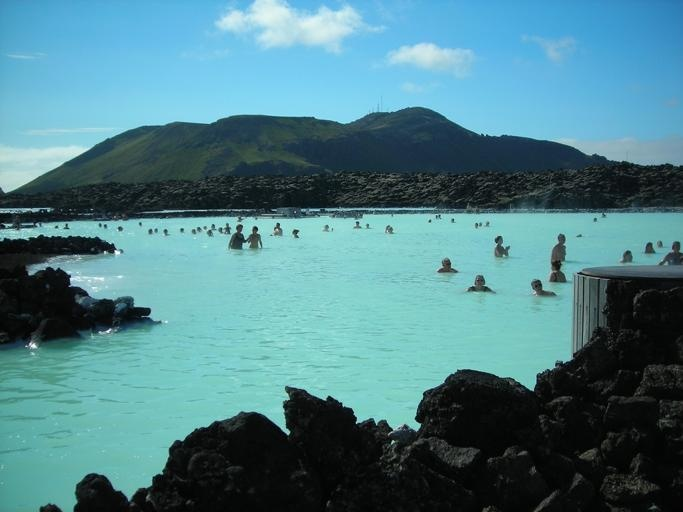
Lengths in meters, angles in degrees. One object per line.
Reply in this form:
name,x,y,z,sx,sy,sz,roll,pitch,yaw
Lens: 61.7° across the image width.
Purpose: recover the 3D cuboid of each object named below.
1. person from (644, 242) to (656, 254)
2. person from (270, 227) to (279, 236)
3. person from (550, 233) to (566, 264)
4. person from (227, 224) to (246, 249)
person,14.799,-0.420,27.366,0.403,0.717,0.297,2,-5,5
person,-4.190,-1.613,36.767,0.609,0.473,0.817,-1,7,-8
person,8.771,-0.318,23.105,0.554,0.700,1.719,-9,-23,26
person,-5.296,-1.069,28.887,0.727,1.169,2.690,-2,7,-10
